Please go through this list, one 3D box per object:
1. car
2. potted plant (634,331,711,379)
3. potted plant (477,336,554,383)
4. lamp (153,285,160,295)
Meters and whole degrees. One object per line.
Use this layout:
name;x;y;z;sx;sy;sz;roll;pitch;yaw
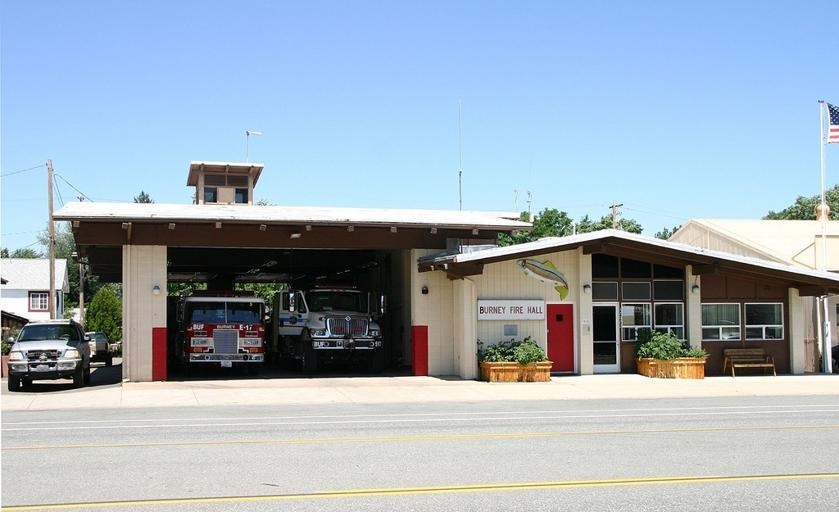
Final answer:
car;-13.346;3.578;32.763;2.051;1.528;3.419;0;-12;-11
potted plant;10.177;3.862;35.696;2.910;1.368;2.837;4;8;27
potted plant;3.590;3.942;33.846;2.568;1.466;1.286;0;1;-2
lamp;-9.702;1.205;32.827;0.234;0.333;0.143;0;1;-14
